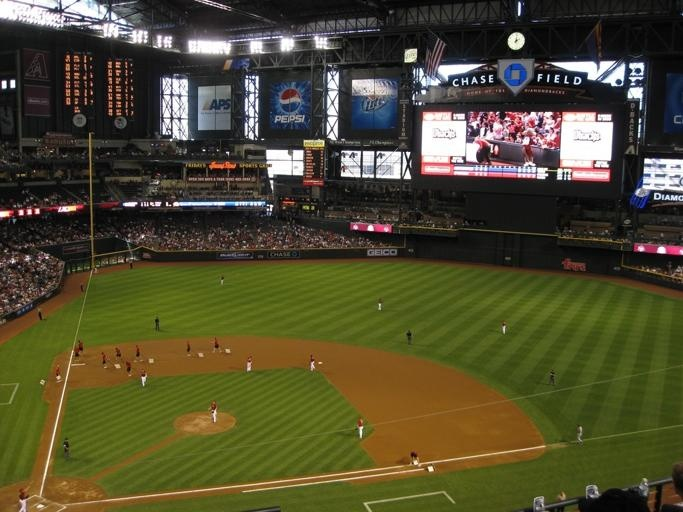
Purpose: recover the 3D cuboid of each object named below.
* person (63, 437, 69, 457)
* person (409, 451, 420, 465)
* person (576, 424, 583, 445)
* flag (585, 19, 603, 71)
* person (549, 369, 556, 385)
[{"bbox_3d":[-18.623,12.670,49.399,0.396,1.095,1.442,-4,11,-20],"label":"person"},{"bbox_3d":[4.884,13.591,49.761,0.657,1.082,0.839,-1,1,27],"label":"person"},{"bbox_3d":[16.751,12.298,51.744,0.498,1.052,1.866,3,11,17],"label":"person"},{"bbox_3d":[30.739,-25.576,89.626,1.890,5.945,7.246,4,11,19],"label":"flag"},{"bbox_3d":[16.755,9.496,58.483,0.490,1.041,1.669,3,11,17],"label":"person"}]
